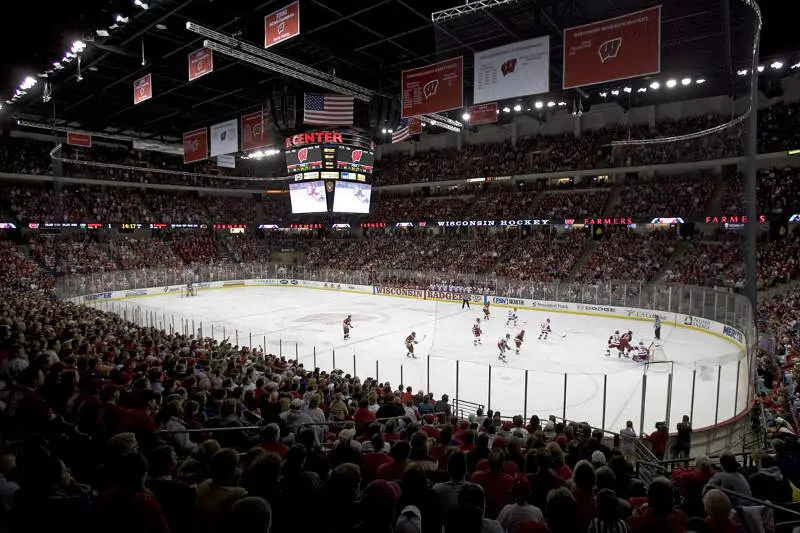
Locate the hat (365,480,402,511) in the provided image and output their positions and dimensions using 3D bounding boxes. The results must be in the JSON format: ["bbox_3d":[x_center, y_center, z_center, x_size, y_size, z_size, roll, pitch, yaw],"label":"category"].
[{"bbox_3d":[-0.401,5.887,17.837,0.666,0.375,0.977,2,1,15],"label":"hat"}]
